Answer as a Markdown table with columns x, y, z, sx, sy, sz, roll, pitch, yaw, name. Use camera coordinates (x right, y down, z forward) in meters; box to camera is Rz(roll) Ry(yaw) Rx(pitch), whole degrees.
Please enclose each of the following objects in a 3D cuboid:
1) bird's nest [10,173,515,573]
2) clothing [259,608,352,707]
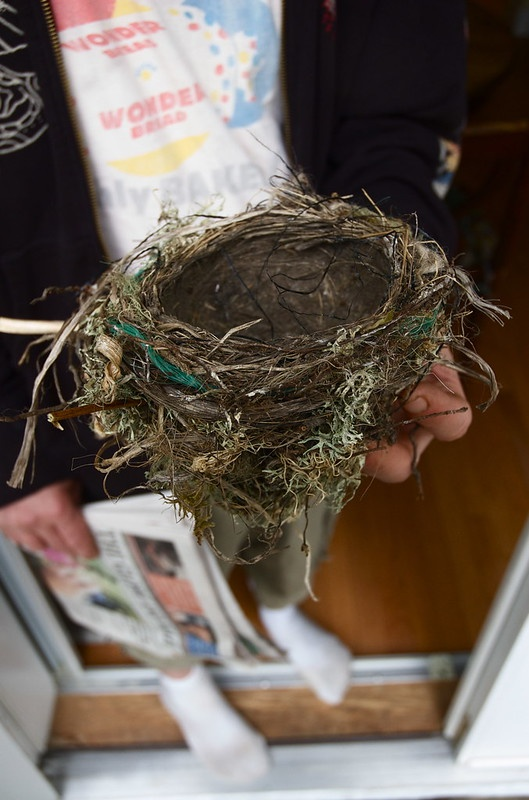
| x | y | z | sx | sy | sz | roll | pitch | yaw | name |
| --- | --- | --- | --- | --- | --- | --- | --- | --- | --- |
| 0.064 | -0.003 | 0.867 | 0.467 | 0.209 | 0.472 | 32 | 64 | 25 | bird's nest |
| 0.062 | 0.337 | 1.063 | 0.065 | 0.065 | 0.169 | -19 | 35 | -17 | clothing |
